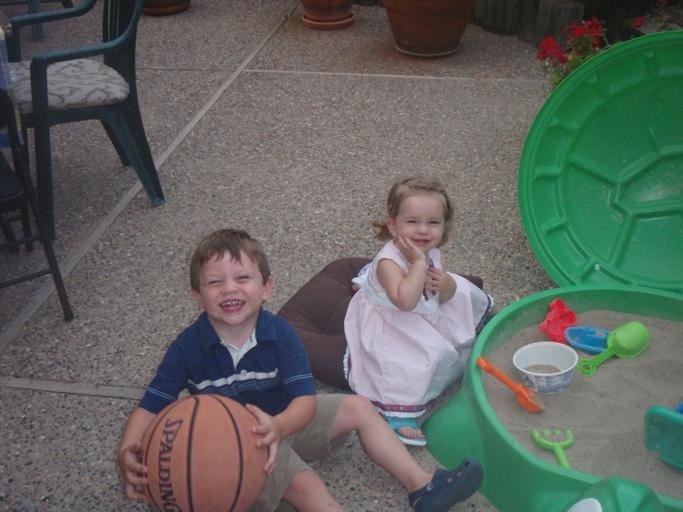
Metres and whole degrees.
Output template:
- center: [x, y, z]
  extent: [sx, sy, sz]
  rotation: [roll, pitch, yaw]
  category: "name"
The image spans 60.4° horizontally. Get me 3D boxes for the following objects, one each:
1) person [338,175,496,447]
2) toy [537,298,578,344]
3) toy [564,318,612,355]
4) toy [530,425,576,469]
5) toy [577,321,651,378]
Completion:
- center: [0.362, 0.130, 2.709]
  extent: [0.964, 1.038, 0.611]
  rotation: [-24, 29, -39]
  category: "person"
- center: [0.980, 0.291, 2.603]
  extent: [0.141, 0.053, 0.203]
  rotation: [5, 62, 2]
  category: "toy"
- center: [1.108, 0.356, 2.596]
  extent: [0.152, 0.039, 0.120]
  rotation: [11, 57, 15]
  category: "toy"
- center: [0.830, 0.731, 2.256]
  extent: [0.163, 0.048, 0.165]
  rotation: [6, 39, -1]
  category: "toy"
- center: [1.210, 0.378, 2.547]
  extent: [0.381, 0.103, 0.160]
  rotation: [-30, 52, -11]
  category: "toy"
